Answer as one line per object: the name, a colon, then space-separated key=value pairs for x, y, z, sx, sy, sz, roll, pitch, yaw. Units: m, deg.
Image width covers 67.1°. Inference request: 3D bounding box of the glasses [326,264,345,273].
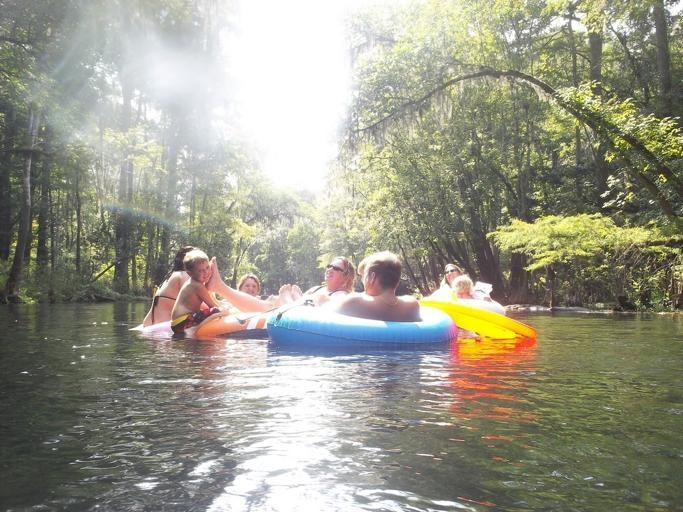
glasses: x=-0.103 y=0.161 z=7.247 sx=0.269 sy=0.104 sz=0.128 roll=-1 pitch=-2 yaw=24
